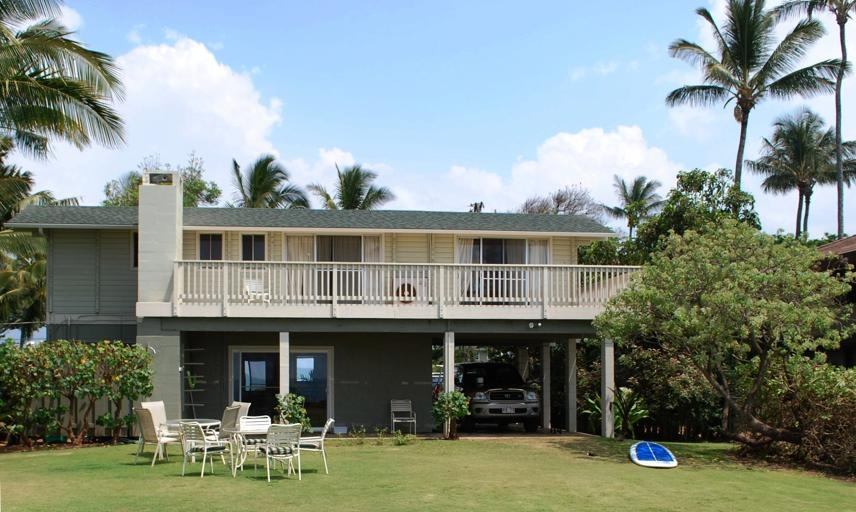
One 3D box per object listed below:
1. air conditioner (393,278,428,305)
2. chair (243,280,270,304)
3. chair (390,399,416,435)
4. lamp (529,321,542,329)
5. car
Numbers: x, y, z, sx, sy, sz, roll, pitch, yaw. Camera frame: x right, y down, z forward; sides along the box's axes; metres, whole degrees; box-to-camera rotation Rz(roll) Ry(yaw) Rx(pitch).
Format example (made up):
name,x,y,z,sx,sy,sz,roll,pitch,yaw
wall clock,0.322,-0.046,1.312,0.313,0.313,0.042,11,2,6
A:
name,x,y,z,sx,sy,sz,roll,pitch,yaw
air conditioner,-0.684,1.418,37.138,1.367,1.355,1.819,1,-13,-4
chair,-6.800,1.437,36.222,1.085,1.002,0.644,3,-13,-12
chair,-1.025,6.671,38.233,1.109,1.448,1.459,1,-13,-2
lamp,4.305,2.821,36.883,0.505,0.300,0.144,-2,-12,7
car,2.980,5.790,38.428,2.140,1.888,3.975,2,-19,-8
